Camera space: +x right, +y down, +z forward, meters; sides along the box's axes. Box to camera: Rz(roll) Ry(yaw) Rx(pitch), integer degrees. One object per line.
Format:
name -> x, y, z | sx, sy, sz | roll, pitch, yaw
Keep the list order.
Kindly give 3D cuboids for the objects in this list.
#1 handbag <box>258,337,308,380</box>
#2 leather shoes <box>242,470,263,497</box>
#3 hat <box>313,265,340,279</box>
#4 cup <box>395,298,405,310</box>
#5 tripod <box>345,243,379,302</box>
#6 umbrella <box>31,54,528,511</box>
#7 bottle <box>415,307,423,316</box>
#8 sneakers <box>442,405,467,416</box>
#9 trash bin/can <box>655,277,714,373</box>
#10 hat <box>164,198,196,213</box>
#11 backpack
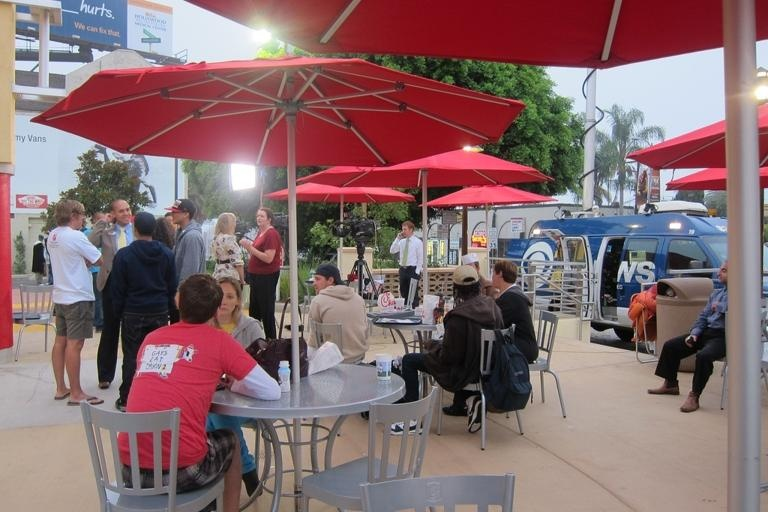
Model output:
handbag -> -0.887, 0.892, 6.348 | 0.484, 0.352, 0.225 | 2, 17, -40
leather shoes -> -1.246, 2.137, 6.571 | 0.118, 0.302, 0.160 | -1, -21, -32
hat -> -0.697, 0.188, 8.454 | 0.227, 0.224, 0.182 | 4, -1, -20
cup -> 0.225, 0.706, 10.085 | 0.135, 0.157, 0.142 | 0, -7, 0
tripod -> -0.430, 0.217, 12.963 | 0.570, 0.910, 0.560 | -1, 8, -5
umbrella -> -0.910, 0.159, 7.291 | 3.607, 2.408, 3.480 | -2, -3, 15
bottle -> 0.459, 0.757, 9.353 | 0.093, 0.099, 0.097 | 2, 3, 15
sneakers -> 0.891, 1.929, 8.740 | 0.312, 0.144, 0.118 | 2, -4, 16
trash bin/can -> 4.645, 1.110, 10.832 | 0.885, 1.556, 0.927 | 1, 0, -8
hat -> -2.805, -0.678, 9.639 | 0.402, 0.233, 0.288 | -1, 1, -13
backpack -> 1.397, 1.312, 7.878 | 0.551, 0.871, 0.469 | 8, 0, -39
